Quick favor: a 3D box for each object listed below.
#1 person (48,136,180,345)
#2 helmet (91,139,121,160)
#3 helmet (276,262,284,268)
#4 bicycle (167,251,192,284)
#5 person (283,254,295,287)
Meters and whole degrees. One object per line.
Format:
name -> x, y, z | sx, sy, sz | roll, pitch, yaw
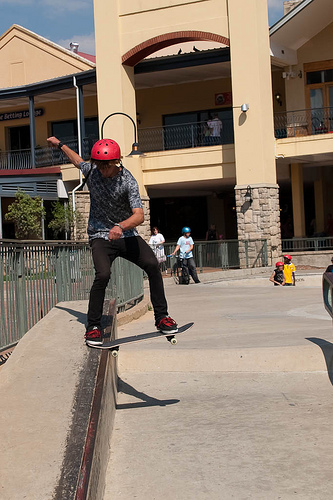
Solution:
person -> -0.329, -0.109, 4.092 | 0.679, 1.618, 0.616 | 0, 3, -10
helmet -> -0.494, -0.829, 4.064 | 0.230, 0.204, 0.300 | 1, 3, -1
helmet -> 3.593, 0.452, 15.726 | 0.236, 0.181, 0.327 | 0, 8, 13
bicycle -> 0.490, 0.604, 17.386 | 0.932, 1.075, 1.727 | -9, -3, 5
person -> 3.651, 0.607, 14.764 | 0.345, 0.866, 0.350 | 2, 3, 11
